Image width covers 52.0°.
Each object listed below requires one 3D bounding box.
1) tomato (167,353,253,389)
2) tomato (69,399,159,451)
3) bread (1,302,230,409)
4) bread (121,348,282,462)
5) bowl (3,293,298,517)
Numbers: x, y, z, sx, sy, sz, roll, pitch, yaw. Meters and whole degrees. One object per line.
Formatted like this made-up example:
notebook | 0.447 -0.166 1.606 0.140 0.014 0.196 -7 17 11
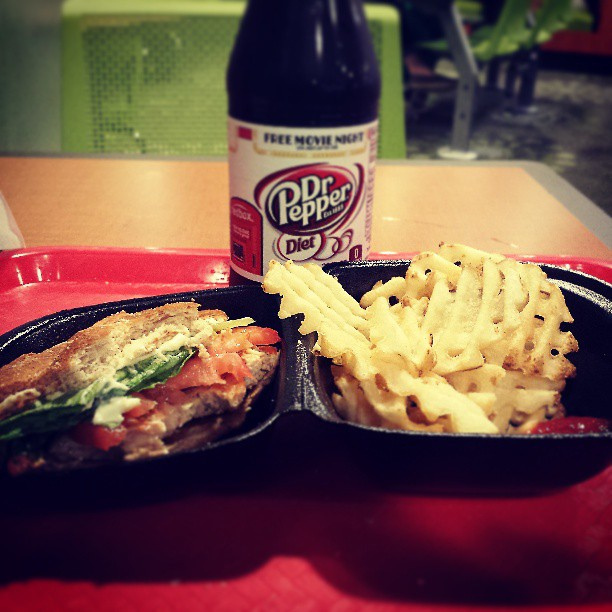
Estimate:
tomato | -0.118 0.077 0.777 0.064 0.018 0.045 -3 37 -44
tomato | -0.218 0.131 0.686 0.059 0.018 0.057 -4 4 17
bread | -0.242 0.052 0.753 0.203 0.050 0.108 -15 20 -36
bread | -0.136 0.110 0.744 0.087 0.021 0.140 -3 26 48
bowl | -0.191 0.103 0.767 0.350 0.129 0.307 -3 24 -7
